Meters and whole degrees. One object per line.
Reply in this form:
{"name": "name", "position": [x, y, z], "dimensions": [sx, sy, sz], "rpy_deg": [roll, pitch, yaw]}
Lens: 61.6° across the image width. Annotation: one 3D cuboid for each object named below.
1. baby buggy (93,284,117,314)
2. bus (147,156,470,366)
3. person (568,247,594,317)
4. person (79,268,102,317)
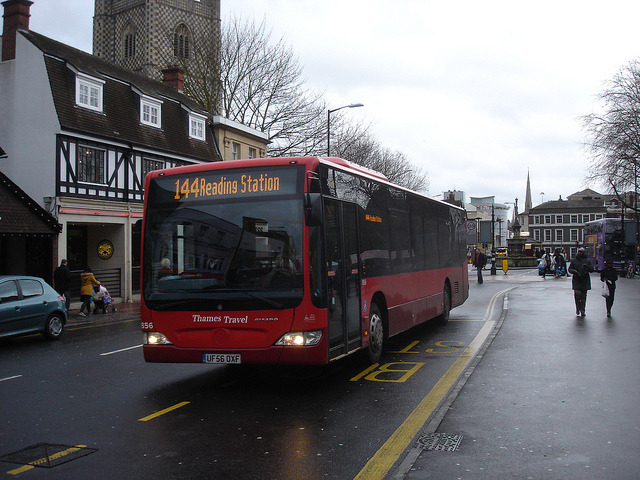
{"name": "baby buggy", "position": [-8.974, 2.396, 22.405], "dimensions": [0.823, 1.326, 0.907], "rpy_deg": [-4, 1, 10]}
{"name": "bus", "position": [0.605, 0.604, 13.021], "dimensions": [2.969, 3.617, 10.722], "rpy_deg": [-3, -6, 25]}
{"name": "person", "position": [8.617, 1.371, 17.847], "dimensions": [0.665, 2.282, 1.017], "rpy_deg": [-1, 0, 27]}
{"name": "person", "position": [-9.038, 2.016, 21.381], "dimensions": [0.741, 1.949, 0.948], "rpy_deg": [1, -4, -11]}
